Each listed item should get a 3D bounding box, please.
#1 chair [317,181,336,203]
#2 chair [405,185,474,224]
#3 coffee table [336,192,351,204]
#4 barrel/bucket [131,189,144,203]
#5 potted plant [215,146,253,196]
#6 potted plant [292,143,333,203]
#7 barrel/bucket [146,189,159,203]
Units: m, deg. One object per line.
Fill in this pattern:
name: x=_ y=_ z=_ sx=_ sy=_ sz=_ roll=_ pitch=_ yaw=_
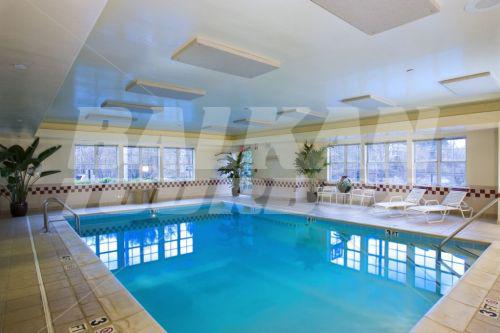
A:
chair: x=3.243 y=1.105 z=13.008 sx=0.921 sy=0.922 sz=0.739 roll=-3 pitch=-6 yaw=33
chair: x=5.964 y=1.200 z=9.508 sx=2.423 sy=0.993 sz=1.502 roll=-8 pitch=11 yaw=-44
coffee table: x=3.999 y=1.322 z=12.810 sx=0.550 sy=0.529 sz=0.513 roll=2 pitch=-3 yaw=-22
barrel/bucket: x=-4.706 y=1.237 z=12.963 sx=0.577 sy=0.601 sz=0.709 roll=-7 pitch=-7 yaw=44
potted plant: x=-0.812 y=0.269 z=16.039 sx=2.537 sy=2.591 sz=2.387 roll=1 pitch=-3 yaw=-23
potted plant: x=2.744 y=0.189 z=13.341 sx=1.553 sy=2.499 sz=1.538 roll=3 pitch=10 yaw=24
barrel/bucket: x=-4.255 y=1.264 z=13.177 sx=0.611 sy=0.494 sz=0.578 roll=-1 pitch=-13 yaw=0
